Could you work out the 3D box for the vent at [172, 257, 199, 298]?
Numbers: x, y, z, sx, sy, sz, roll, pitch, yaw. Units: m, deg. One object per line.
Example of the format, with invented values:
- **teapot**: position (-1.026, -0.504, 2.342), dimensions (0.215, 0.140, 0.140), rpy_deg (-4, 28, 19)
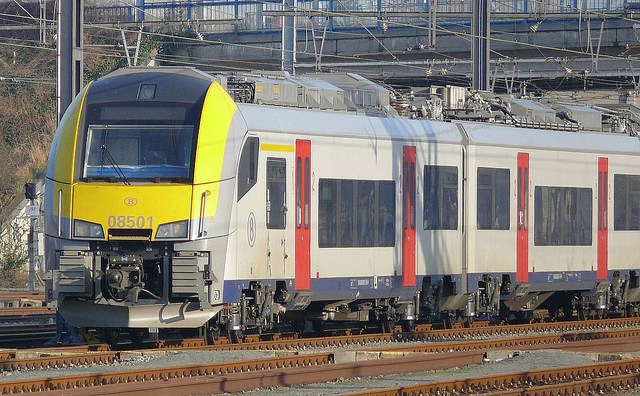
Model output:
- **vent**: position (-3.407, 1.954, 32.545), dimensions (0.749, 0.972, 0.593), rpy_deg (0, 2, -1)
